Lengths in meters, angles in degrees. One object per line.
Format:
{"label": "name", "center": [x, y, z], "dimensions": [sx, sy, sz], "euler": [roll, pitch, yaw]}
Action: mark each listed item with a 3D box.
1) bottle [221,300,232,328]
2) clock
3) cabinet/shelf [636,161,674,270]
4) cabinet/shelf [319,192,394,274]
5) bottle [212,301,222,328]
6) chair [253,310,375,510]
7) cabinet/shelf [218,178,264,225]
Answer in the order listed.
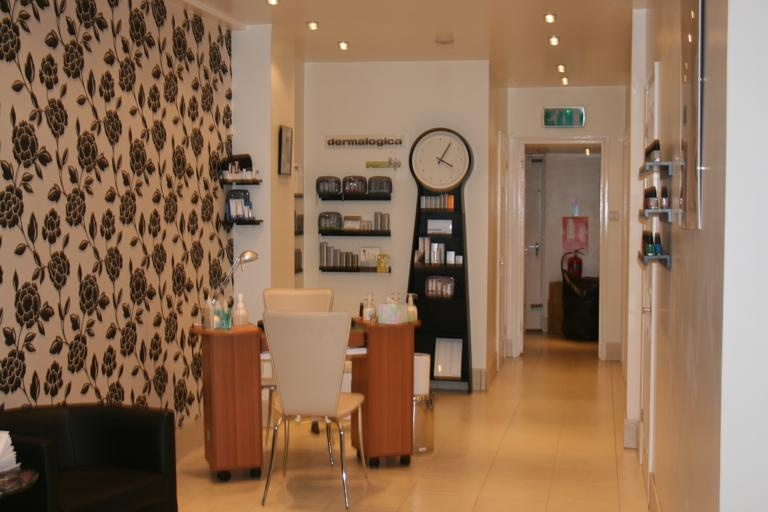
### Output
{"label": "bottle", "center": [-1.264, 0.483, 5.210], "dimensions": [0.056, 0.185, 0.077], "euler": [0, 4, -6]}
{"label": "clock", "center": [0.715, -1.154, 7.711], "dimensions": [0.686, 0.788, 0.143], "euler": [-3, -1, 6]}
{"label": "cabinet/shelf", "center": [1.896, -0.287, 4.504], "dimensions": [0.126, 0.522, 0.853], "euler": [-1, 1, 7]}
{"label": "cabinet/shelf", "center": [-0.335, -0.303, 7.920], "dimensions": [0.872, 0.796, 0.275], "euler": [1, 0, -1]}
{"label": "bottle", "center": [-1.350, 0.472, 5.215], "dimensions": [0.071, 0.215, 0.122], "euler": [-3, 5, -30]}
{"label": "chair", "center": [-0.554, 1.119, 5.051], "dimensions": [0.812, 1.458, 0.732], "euler": [0, 4, -3]}
{"label": "cabinet/shelf", "center": [-1.452, -0.497, 6.554], "dimensions": [0.367, 0.619, 0.499], "euler": [0, 1, 16]}
